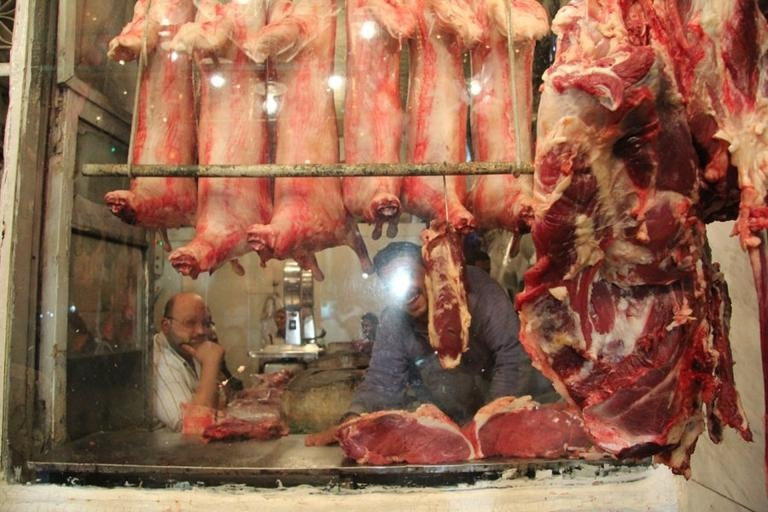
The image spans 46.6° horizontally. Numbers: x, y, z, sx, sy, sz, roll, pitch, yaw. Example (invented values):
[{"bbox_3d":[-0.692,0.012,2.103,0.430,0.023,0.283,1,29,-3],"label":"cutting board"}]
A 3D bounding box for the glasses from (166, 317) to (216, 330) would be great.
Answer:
[{"bbox_3d":[-0.972,0.322,4.431,0.264,0.067,0.018,-3,-8,13],"label":"glasses"}]

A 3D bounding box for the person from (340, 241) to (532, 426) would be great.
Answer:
[{"bbox_3d":[0.252,0.480,4.420,0.924,1.366,0.363,2,-51,-1],"label":"person"}]
